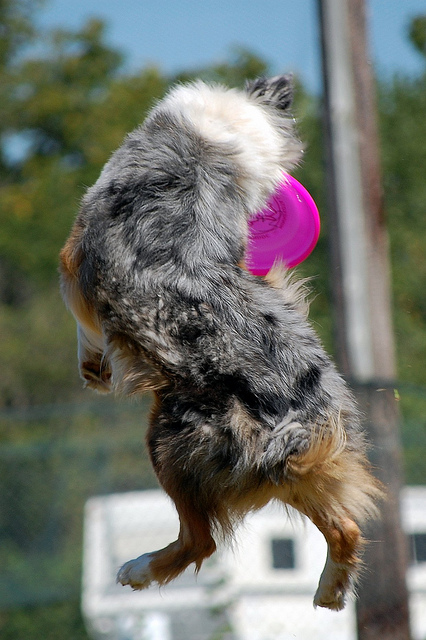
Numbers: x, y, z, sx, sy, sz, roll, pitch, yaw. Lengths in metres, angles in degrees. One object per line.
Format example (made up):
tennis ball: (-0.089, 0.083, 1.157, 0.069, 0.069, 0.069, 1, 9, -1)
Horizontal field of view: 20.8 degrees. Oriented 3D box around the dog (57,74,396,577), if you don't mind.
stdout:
dog: (-0.064, 0.024, 4.149, 1.059, 1.120, 1.722, -11, 72, -15)
